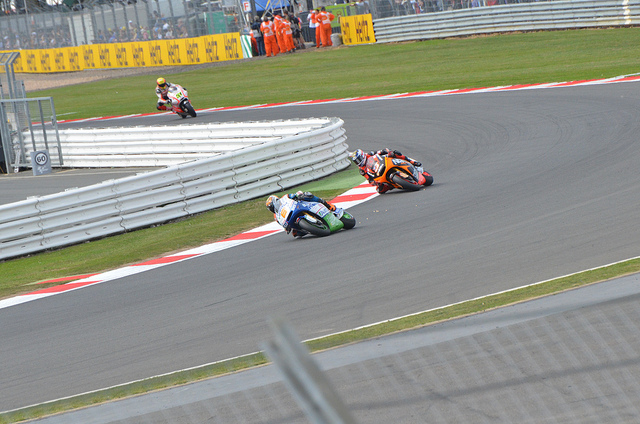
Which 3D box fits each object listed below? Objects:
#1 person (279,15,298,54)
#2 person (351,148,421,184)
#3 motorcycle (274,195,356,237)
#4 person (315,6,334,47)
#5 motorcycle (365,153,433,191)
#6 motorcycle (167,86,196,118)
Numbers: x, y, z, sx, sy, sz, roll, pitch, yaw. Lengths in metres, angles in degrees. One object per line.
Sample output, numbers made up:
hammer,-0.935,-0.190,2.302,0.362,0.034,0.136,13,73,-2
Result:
person,-1.264,-6.937,42.302,0.412,1.356,0.467,-15,16,0
person,1.076,-0.957,19.959,1.279,0.507,0.493,-5,30,26
motorcycle,-0.175,0.091,18.642,1.554,0.433,0.788,2,18,-41
person,0.163,-7.149,41.928,0.649,1.391,0.665,-10,16,15
motorcycle,1.600,-0.701,20.538,0.569,1.072,1.921,-53,1,0
motorcycle,-3.823,-2.990,29.412,0.596,0.947,0.463,-16,16,-8
